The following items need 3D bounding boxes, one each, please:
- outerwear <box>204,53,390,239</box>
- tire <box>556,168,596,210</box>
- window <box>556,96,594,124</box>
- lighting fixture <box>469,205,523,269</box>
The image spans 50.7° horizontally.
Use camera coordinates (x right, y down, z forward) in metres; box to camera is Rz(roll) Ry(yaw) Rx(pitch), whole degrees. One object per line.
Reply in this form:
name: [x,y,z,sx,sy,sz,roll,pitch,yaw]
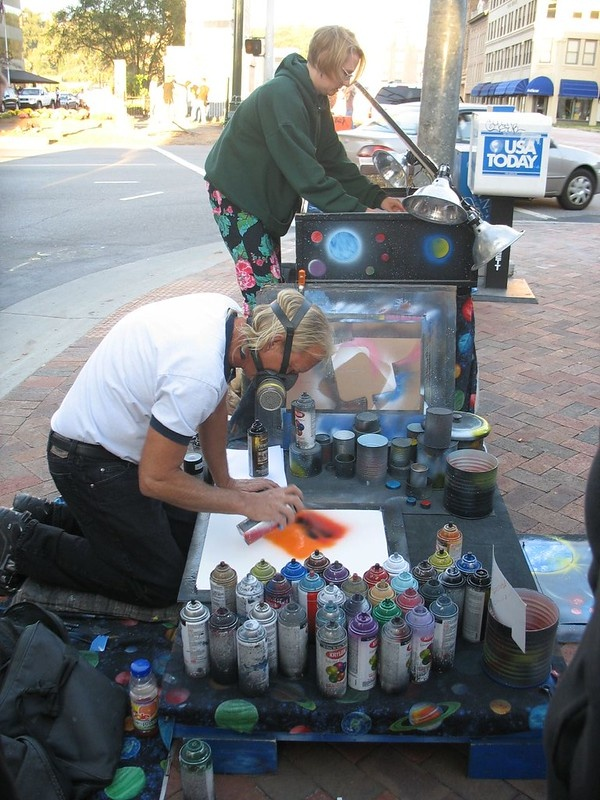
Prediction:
outerwear: [-0.049,-1.321,3.319,0.888,0.918,0.775,-1,17,-8]
tire: [5.249,-4.054,12.065,0.600,0.560,0.184,-7,42,-10]
window: [24.008,-25.512,55.462,3.151,2.713,1.658,-1,35,-3]
lighting fixture: [0.914,-0.747,3.022,0.204,0.274,0.419,6,17,13]
